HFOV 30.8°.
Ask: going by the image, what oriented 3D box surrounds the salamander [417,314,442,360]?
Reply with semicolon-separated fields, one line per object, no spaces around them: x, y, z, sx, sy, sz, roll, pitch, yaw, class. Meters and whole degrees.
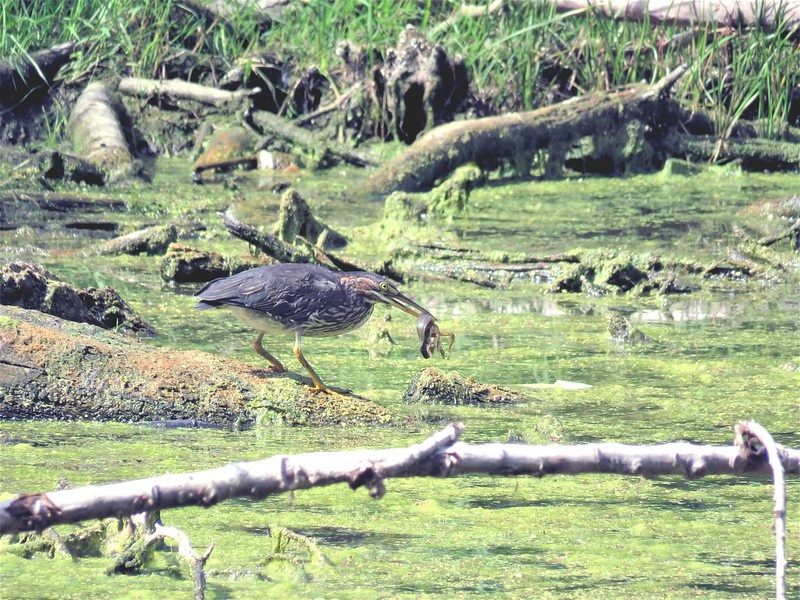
0.254;0.337;12.927;0.186;0.325;0.464;7;39;2;salamander
